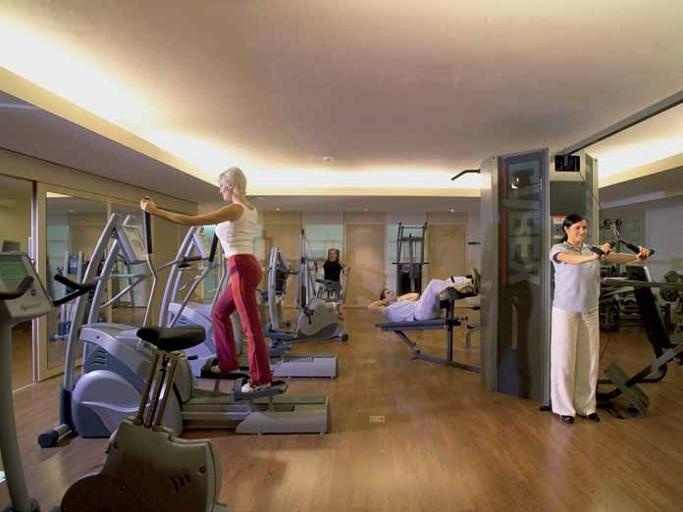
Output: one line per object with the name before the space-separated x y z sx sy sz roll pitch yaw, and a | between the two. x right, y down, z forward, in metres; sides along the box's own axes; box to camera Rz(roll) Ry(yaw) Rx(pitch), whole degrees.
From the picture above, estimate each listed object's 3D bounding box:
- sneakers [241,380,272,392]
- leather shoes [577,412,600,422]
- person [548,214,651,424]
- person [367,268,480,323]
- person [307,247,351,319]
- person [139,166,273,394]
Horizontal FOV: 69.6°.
sneakers | -0.706 1.069 4.059 0.228 0.093 0.091 3 -8 -6
leather shoes | 2.208 1.419 4.399 0.064 0.079 0.196 4 -2 -28
person | 2.170 0.533 4.408 0.681 1.785 0.561 -5 13 -21
person | 0.965 0.458 6.058 0.727 0.776 1.461 -7 13 -27
person | -0.244 0.525 9.126 0.574 1.398 0.514 2 6 23
person | -0.982 0.186 4.066 0.727 1.796 0.614 -3 12 -10
